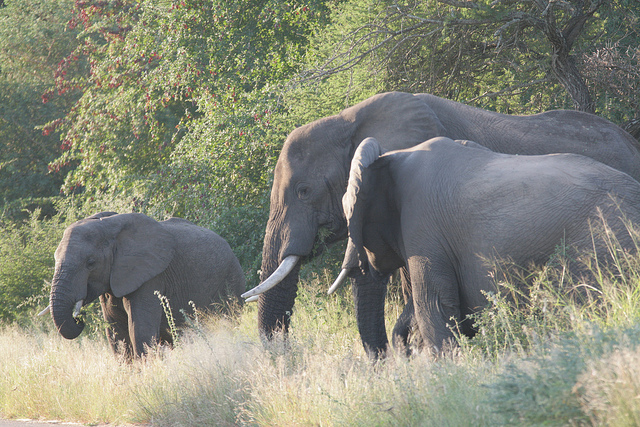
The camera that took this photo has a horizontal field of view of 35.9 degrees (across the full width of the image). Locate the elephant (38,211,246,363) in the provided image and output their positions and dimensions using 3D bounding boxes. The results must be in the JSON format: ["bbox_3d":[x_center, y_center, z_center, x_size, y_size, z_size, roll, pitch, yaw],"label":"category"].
[{"bbox_3d":[-3.098,1.538,17.936,3.641,3.285,2.025,3,0,-38],"label":"elephant"}]

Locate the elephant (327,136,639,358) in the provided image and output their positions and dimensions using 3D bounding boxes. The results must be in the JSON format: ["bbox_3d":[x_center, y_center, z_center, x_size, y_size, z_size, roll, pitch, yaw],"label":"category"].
[{"bbox_3d":[2.376,0.297,14.998,3.853,2.882,2.680,-3,4,23],"label":"elephant"}]
